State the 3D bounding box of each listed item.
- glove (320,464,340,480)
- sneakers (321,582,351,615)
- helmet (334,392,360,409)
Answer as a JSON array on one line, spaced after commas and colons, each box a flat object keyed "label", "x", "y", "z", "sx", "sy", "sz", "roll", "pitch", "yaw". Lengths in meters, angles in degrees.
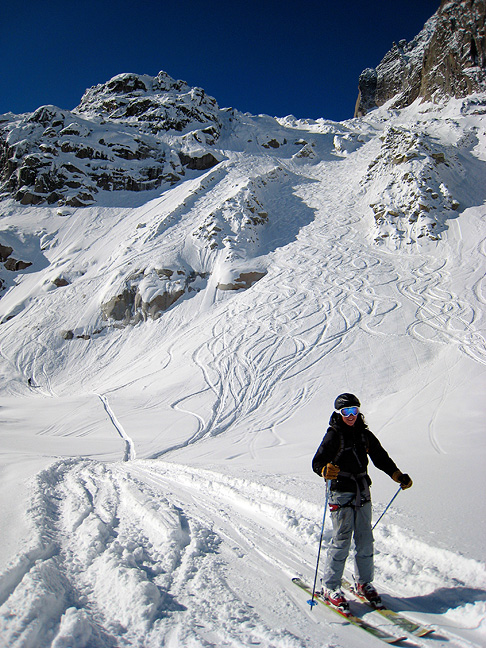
[{"label": "glove", "x": 0.938, "y": 1.572, "z": 7.004, "sx": 0.181, "sy": 0.158, "sz": 0.090, "roll": 2, "pitch": 12, "yaw": 8}, {"label": "sneakers", "x": 0.998, "y": 2.924, "z": 6.948, "sx": 0.141, "sy": 0.367, "sz": 0.178, "roll": 16, "pitch": 59, "yaw": 4}, {"label": "helmet", "x": 1.148, "y": 0.826, "z": 7.173, "sx": 0.239, "sy": 0.155, "sz": 0.191, "roll": -14, "pitch": -13, "yaw": 19}]
